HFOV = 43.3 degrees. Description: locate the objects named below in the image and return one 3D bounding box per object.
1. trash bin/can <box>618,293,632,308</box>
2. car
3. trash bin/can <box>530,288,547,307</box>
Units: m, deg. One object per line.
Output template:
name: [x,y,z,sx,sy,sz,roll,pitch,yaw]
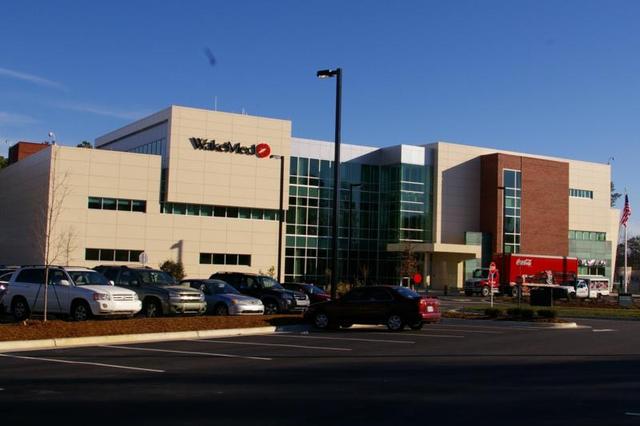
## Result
trash bin/can: [22.099,6.290,58.030,0.945,0.880,1.001,1,-2,9]
car: [2.421,4.139,34.908,4.936,1.504,2.197,0,-5,17]
trash bin/can: [13.451,5.210,49.288,1.257,1.083,0.627,0,-2,5]
